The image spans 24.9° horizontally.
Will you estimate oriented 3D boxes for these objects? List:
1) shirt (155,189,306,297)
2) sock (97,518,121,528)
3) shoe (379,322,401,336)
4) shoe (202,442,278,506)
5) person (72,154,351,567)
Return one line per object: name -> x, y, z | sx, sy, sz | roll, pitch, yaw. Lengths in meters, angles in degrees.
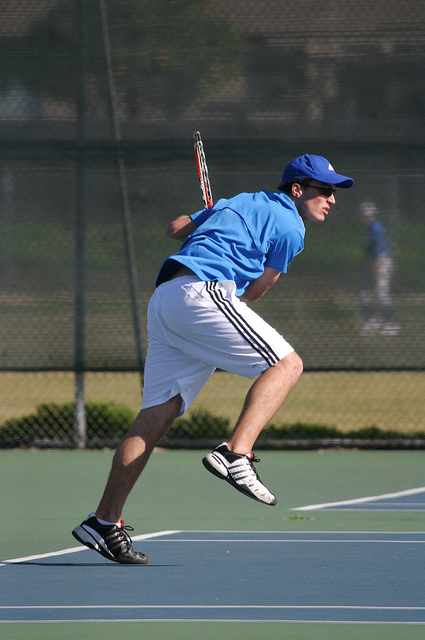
shirt -> 0.082, -0.279, 3.365 | 0.467, 0.386, 0.306 | 0, 1, -4
sock -> -0.356, 0.678, 3.200 | 0.056, 0.018, 0.038 | 18, 2, -6
shoe -> 1.050, 0.052, 5.653 | 0.100, 0.082, 0.022 | 8, 18, 3
shoe -> 0.107, 0.504, 3.182 | 0.286, 0.137, 0.092 | 36, -2, 8
person -> -0.062, 0.187, 3.324 | 0.733, 1.293, 0.394 | 0, 1, 6
